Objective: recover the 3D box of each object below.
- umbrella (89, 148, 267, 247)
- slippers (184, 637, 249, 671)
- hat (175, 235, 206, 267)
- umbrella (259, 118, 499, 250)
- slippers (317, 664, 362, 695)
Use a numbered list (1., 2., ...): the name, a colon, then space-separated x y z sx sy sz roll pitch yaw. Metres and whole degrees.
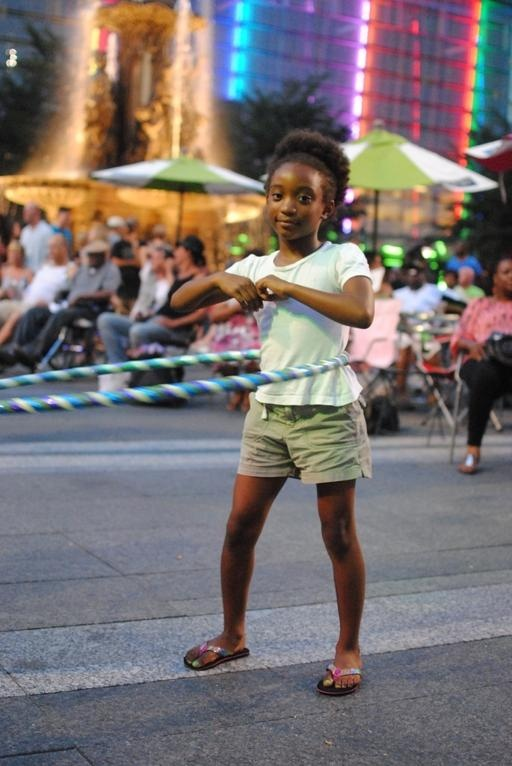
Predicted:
1. umbrella: -0.958 -2.876 11.714 2.479 1.316 2.174 0 -5 1
2. slippers: -0.123 0.869 2.618 0.149 0.033 0.083 -3 8 -26
3. hat: -0.788 -1.586 9.711 0.322 0.197 0.411 9 11 -31
4. umbrella: 1.811 -2.622 10.074 2.941 1.264 2.835 3 4 -8
5. slippers: 0.264 0.899 2.485 0.110 0.065 0.185 4 5 23
